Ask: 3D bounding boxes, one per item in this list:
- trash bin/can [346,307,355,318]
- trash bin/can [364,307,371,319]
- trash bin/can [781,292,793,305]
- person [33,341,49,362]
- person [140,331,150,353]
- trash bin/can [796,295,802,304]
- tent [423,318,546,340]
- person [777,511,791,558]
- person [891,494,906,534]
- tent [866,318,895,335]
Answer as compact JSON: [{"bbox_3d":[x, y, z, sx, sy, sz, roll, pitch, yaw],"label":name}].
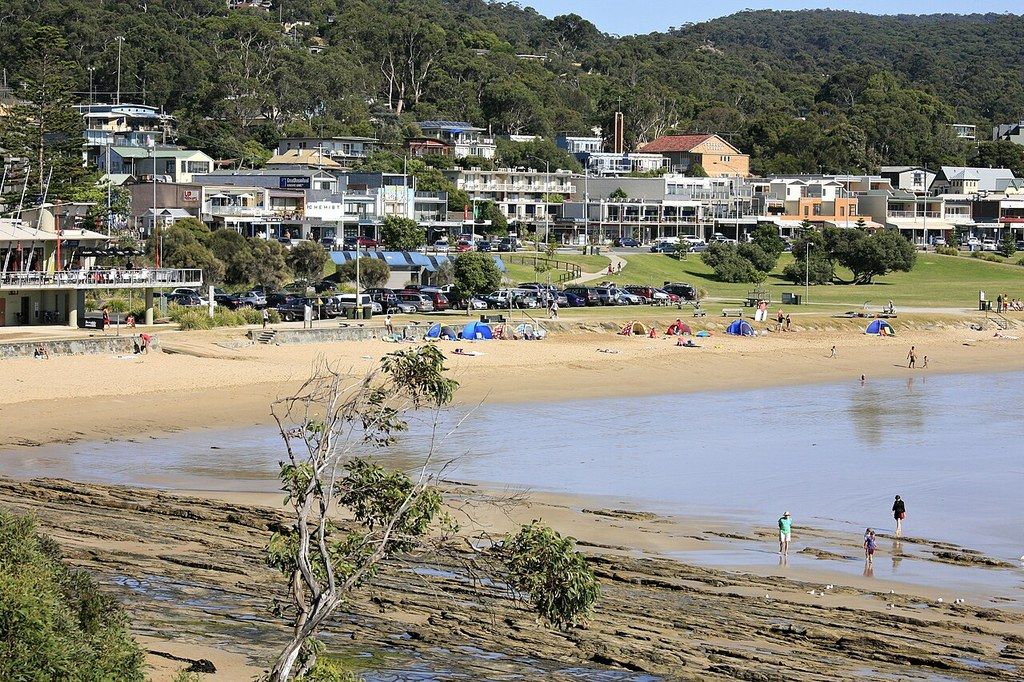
[{"bbox_3d":[-9.151,-1.637,91.749,0.507,0.584,0.514,1,-1,6],"label":"trash bin/can"},{"bbox_3d":[-8.193,-1.608,91.480,0.469,0.542,0.464,-2,5,-37],"label":"trash bin/can"},{"bbox_3d":[18.546,-2.849,107.897,1.002,0.991,0.713,2,6,13],"label":"trash bin/can"},{"bbox_3d":[-21.574,0.449,73.786,0.781,1.177,0.626,-1,4,1],"label":"person"},{"bbox_3d":[-17.466,0.071,76.831,0.461,0.799,0.977,-2,4,-9],"label":"person"},{"bbox_3d":[19.237,-2.794,108.136,0.296,0.559,0.580,2,7,18],"label":"trash bin/can"},{"bbox_3d":[-1.325,-0.530,86.446,6.829,1.079,2.163,-5,5,-39],"label":"tent"},{"bbox_3d":[9.259,6.511,54.525,0.403,1.278,2.043,0,4,10],"label":"person"},{"bbox_3d":[13.569,6.072,56.359,0.414,1.179,1.542,0,4,13],"label":"person"},{"bbox_3d":[22.024,-0.776,96.248,1.203,0.558,1.110,2,5,16],"label":"tent"}]
